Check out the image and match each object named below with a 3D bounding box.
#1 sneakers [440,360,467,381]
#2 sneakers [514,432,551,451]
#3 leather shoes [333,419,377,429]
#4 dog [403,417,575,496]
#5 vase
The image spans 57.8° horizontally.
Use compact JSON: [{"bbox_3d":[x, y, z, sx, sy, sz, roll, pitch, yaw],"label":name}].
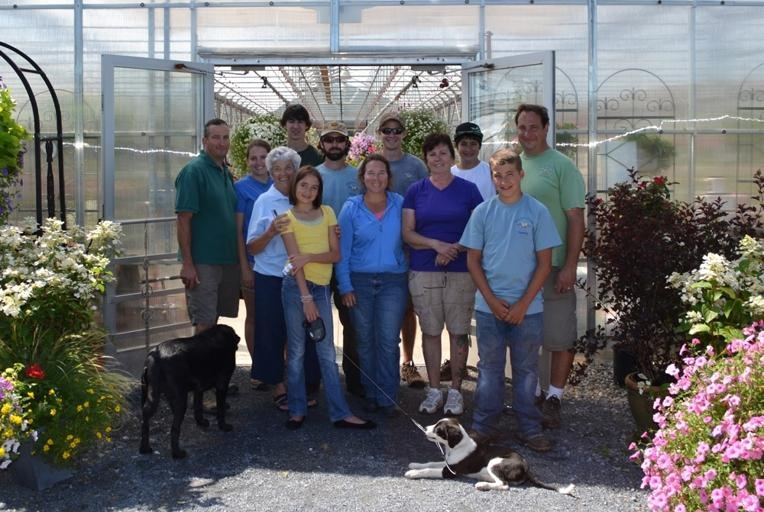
[{"bbox_3d":[0.698,1.116,6.650,0.417,0.199,0.142,7,-7,-29],"label":"sneakers"},{"bbox_3d":[1.147,1.386,5.223,0.100,0.109,0.260,-3,4,-33],"label":"sneakers"},{"bbox_3d":[-0.215,1.329,5.487,0.332,0.064,0.113,-1,-3,4],"label":"leather shoes"},{"bbox_3d":[0.747,1.347,4.902,1.157,0.490,0.482,3,-8,13],"label":"dog"},{"bbox_3d":[-2.287,1.363,4.756,0.316,0.444,0.426,-8,-11,43],"label":"vase"}]
